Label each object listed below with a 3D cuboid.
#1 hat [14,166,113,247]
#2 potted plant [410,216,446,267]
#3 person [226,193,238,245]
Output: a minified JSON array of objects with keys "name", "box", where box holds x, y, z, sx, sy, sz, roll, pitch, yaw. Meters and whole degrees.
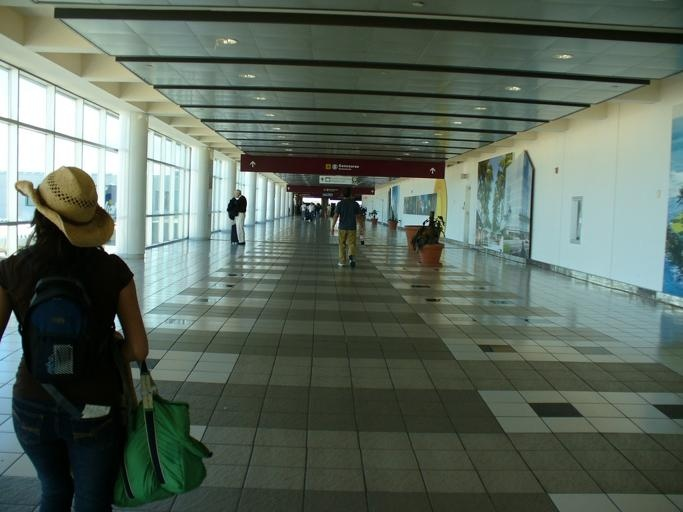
[{"name":"hat","box":[-1.125,-0.199,2.138,0.363,0.321,0.235,0,8,-19]},{"name":"potted plant","box":[2.437,-0.444,14.974,1.043,1.101,0.858,2,5,-3]},{"name":"person","box":[-3.722,-1.249,18.065,0.309,1.591,0.562,1,8,-11]}]
